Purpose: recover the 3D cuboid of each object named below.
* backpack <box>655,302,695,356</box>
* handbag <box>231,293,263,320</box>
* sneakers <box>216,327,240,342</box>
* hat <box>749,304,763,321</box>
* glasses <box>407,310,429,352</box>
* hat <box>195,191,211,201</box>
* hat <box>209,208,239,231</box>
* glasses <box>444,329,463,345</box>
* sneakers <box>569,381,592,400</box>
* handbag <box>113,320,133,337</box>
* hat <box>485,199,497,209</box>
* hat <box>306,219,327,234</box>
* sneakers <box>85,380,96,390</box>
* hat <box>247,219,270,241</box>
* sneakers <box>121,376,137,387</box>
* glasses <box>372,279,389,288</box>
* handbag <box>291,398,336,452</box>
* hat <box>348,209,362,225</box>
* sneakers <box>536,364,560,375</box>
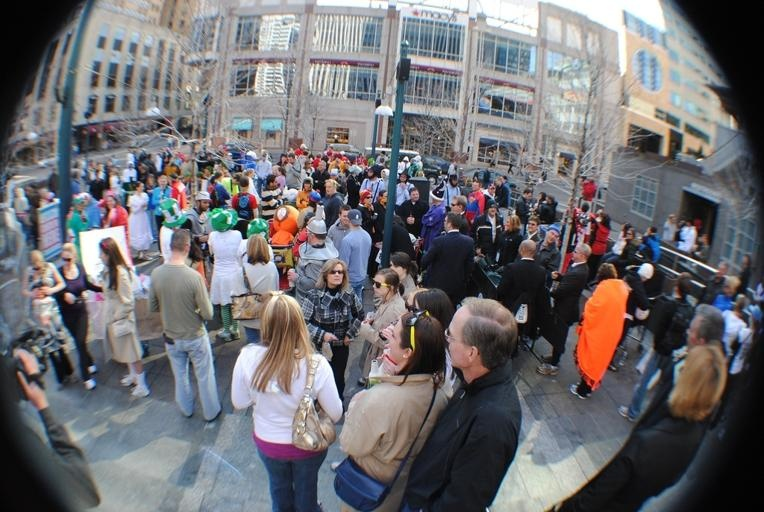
[{"bbox_3d":[3.126,0.779,4.706,0.338,0.545,0.643,6,6,33],"label":"backpack"},{"bbox_3d":[-1.761,0.658,5.674,0.328,0.254,0.199,-1,-13,-1],"label":"handbag"},{"bbox_3d":[-2.507,1.287,7.095,0.365,0.168,0.175,7,0,-13],"label":"sneakers"},{"bbox_3d":[3.673,0.557,4.281,0.049,0.152,0.158,3,5,0],"label":"hat"},{"bbox_3d":[0.256,0.616,3.561,0.071,0.258,0.232,7,10,27],"label":"glasses"},{"bbox_3d":[-3.238,-1.067,7.810,0.233,0.195,0.287,-7,20,-40],"label":"hat"},{"bbox_3d":[-2.355,-0.524,6.535,0.391,0.402,0.131,-19,-3,-15],"label":"hat"},{"bbox_3d":[0.559,0.644,3.457,0.058,0.115,0.175,0,6,-32],"label":"glasses"},{"bbox_3d":[2.822,1.928,6.242,0.137,0.157,0.329,1,7,-9],"label":"sneakers"},{"bbox_3d":[-3.279,0.911,5.459,0.184,0.179,0.078,-6,-4,-32],"label":"handbag"},{"bbox_3d":[2.507,-1.203,10.089,0.254,0.206,0.378,-2,12,-4],"label":"hat"},{"bbox_3d":[-0.932,-0.409,6.073,0.200,0.150,0.230,6,8,-28],"label":"hat"},{"bbox_3d":[-3.856,1.703,5.728,0.110,0.087,0.108,-11,10,-38],"label":"sneakers"},{"bbox_3d":[-1.941,-0.397,6.784,0.288,0.378,0.364,8,26,3],"label":"hat"},{"bbox_3d":[-3.448,1.715,5.903,0.336,0.121,0.138,-20,-7,42],"label":"sneakers"},{"bbox_3d":[-0.054,0.323,5.144,0.121,0.107,0.330,1,6,-24],"label":"glasses"},{"bbox_3d":[-0.621,1.474,3.790,0.224,0.455,0.439,-4,-8,14],"label":"handbag"},{"bbox_3d":[-0.431,-0.594,6.802,0.157,0.127,0.239,-3,34,-21],"label":"hat"},{"bbox_3d":[2.550,1.767,6.749,0.303,0.142,0.146,5,23,3],"label":"sneakers"}]
